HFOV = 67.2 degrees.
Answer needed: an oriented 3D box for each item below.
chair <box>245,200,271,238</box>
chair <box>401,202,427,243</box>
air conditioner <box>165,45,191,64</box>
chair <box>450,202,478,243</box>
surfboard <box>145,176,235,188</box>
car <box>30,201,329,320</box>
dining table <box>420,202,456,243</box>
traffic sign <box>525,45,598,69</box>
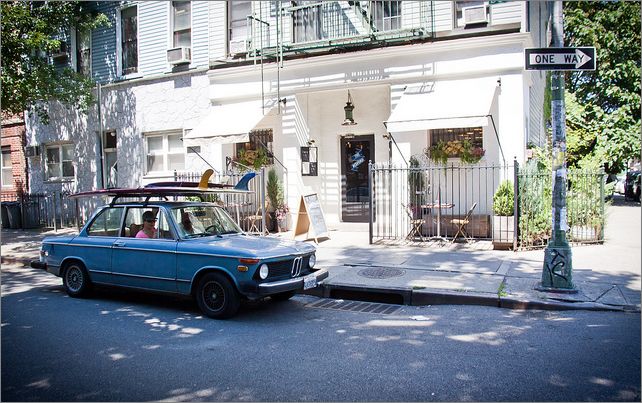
[{"bbox_3d":[-2.246,0.705,18.033,1.100,1.355,0.776,3,3,29],"label":"chair"},{"bbox_3d":[3.096,0.680,16.127,0.744,1.293,1.115,-1,1,11],"label":"chair"},{"bbox_3d":[-5.807,-5.933,19.667,1.112,0.791,0.636,-1,-4,27],"label":"air conditioner"},{"bbox_3d":[4.652,0.686,15.706,0.828,1.264,1.718,-1,1,18],"label":"chair"},{"bbox_3d":[-3.900,-0.624,14.937,1.597,0.407,0.888,-2,-1,18],"label":"surfboard"},{"bbox_3d":[-3.281,1.220,11.285,5.955,2.233,2.595,0,0,25],"label":"car"},{"bbox_3d":[3.823,0.658,15.816,1.076,1.166,1.136,-1,-6,22],"label":"dining table"},{"bbox_3d":[5.448,-3.295,10.942,1.605,0.641,0.521,-1,1,-16],"label":"traffic sign"}]
